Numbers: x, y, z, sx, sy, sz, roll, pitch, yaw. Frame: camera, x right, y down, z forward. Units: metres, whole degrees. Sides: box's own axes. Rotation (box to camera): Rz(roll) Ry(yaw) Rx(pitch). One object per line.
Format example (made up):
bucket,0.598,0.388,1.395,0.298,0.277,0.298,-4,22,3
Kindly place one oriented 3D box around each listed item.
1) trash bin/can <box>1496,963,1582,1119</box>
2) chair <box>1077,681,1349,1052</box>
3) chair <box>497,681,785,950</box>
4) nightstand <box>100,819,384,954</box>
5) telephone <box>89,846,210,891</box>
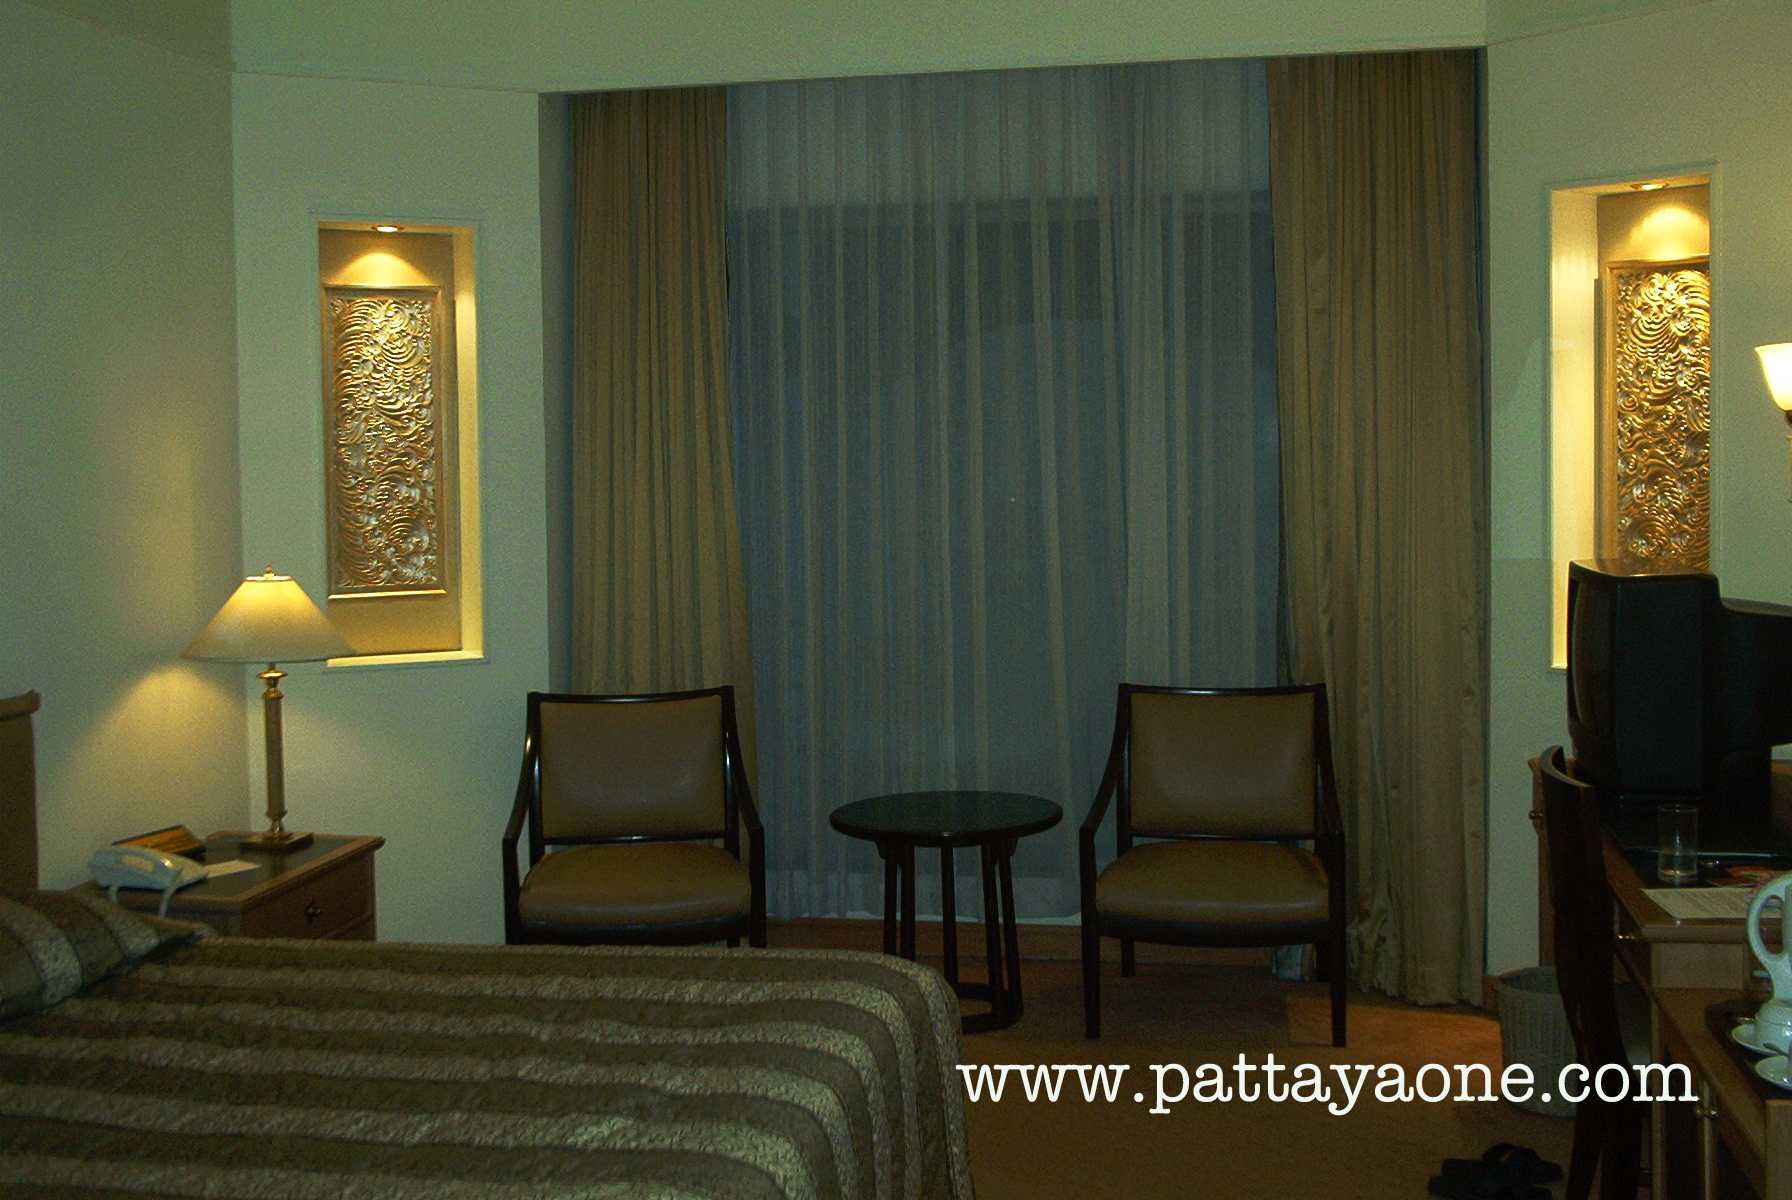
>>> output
trash bin/can,2.208,1.503,5.332,0.380,0.467,0.408,0,2,22
chair,1.228,0.984,5.959,0.966,1.169,0.947,0,14,10
chair,-0.984,0.833,6.014,1.080,1.501,0.965,0,-5,-8
nightstand,-2.157,0.817,5.207,0.394,0.610,0.647,2,3,14
telephone,-2.424,0.865,4.960,0.244,0.082,0.168,1,-2,1
